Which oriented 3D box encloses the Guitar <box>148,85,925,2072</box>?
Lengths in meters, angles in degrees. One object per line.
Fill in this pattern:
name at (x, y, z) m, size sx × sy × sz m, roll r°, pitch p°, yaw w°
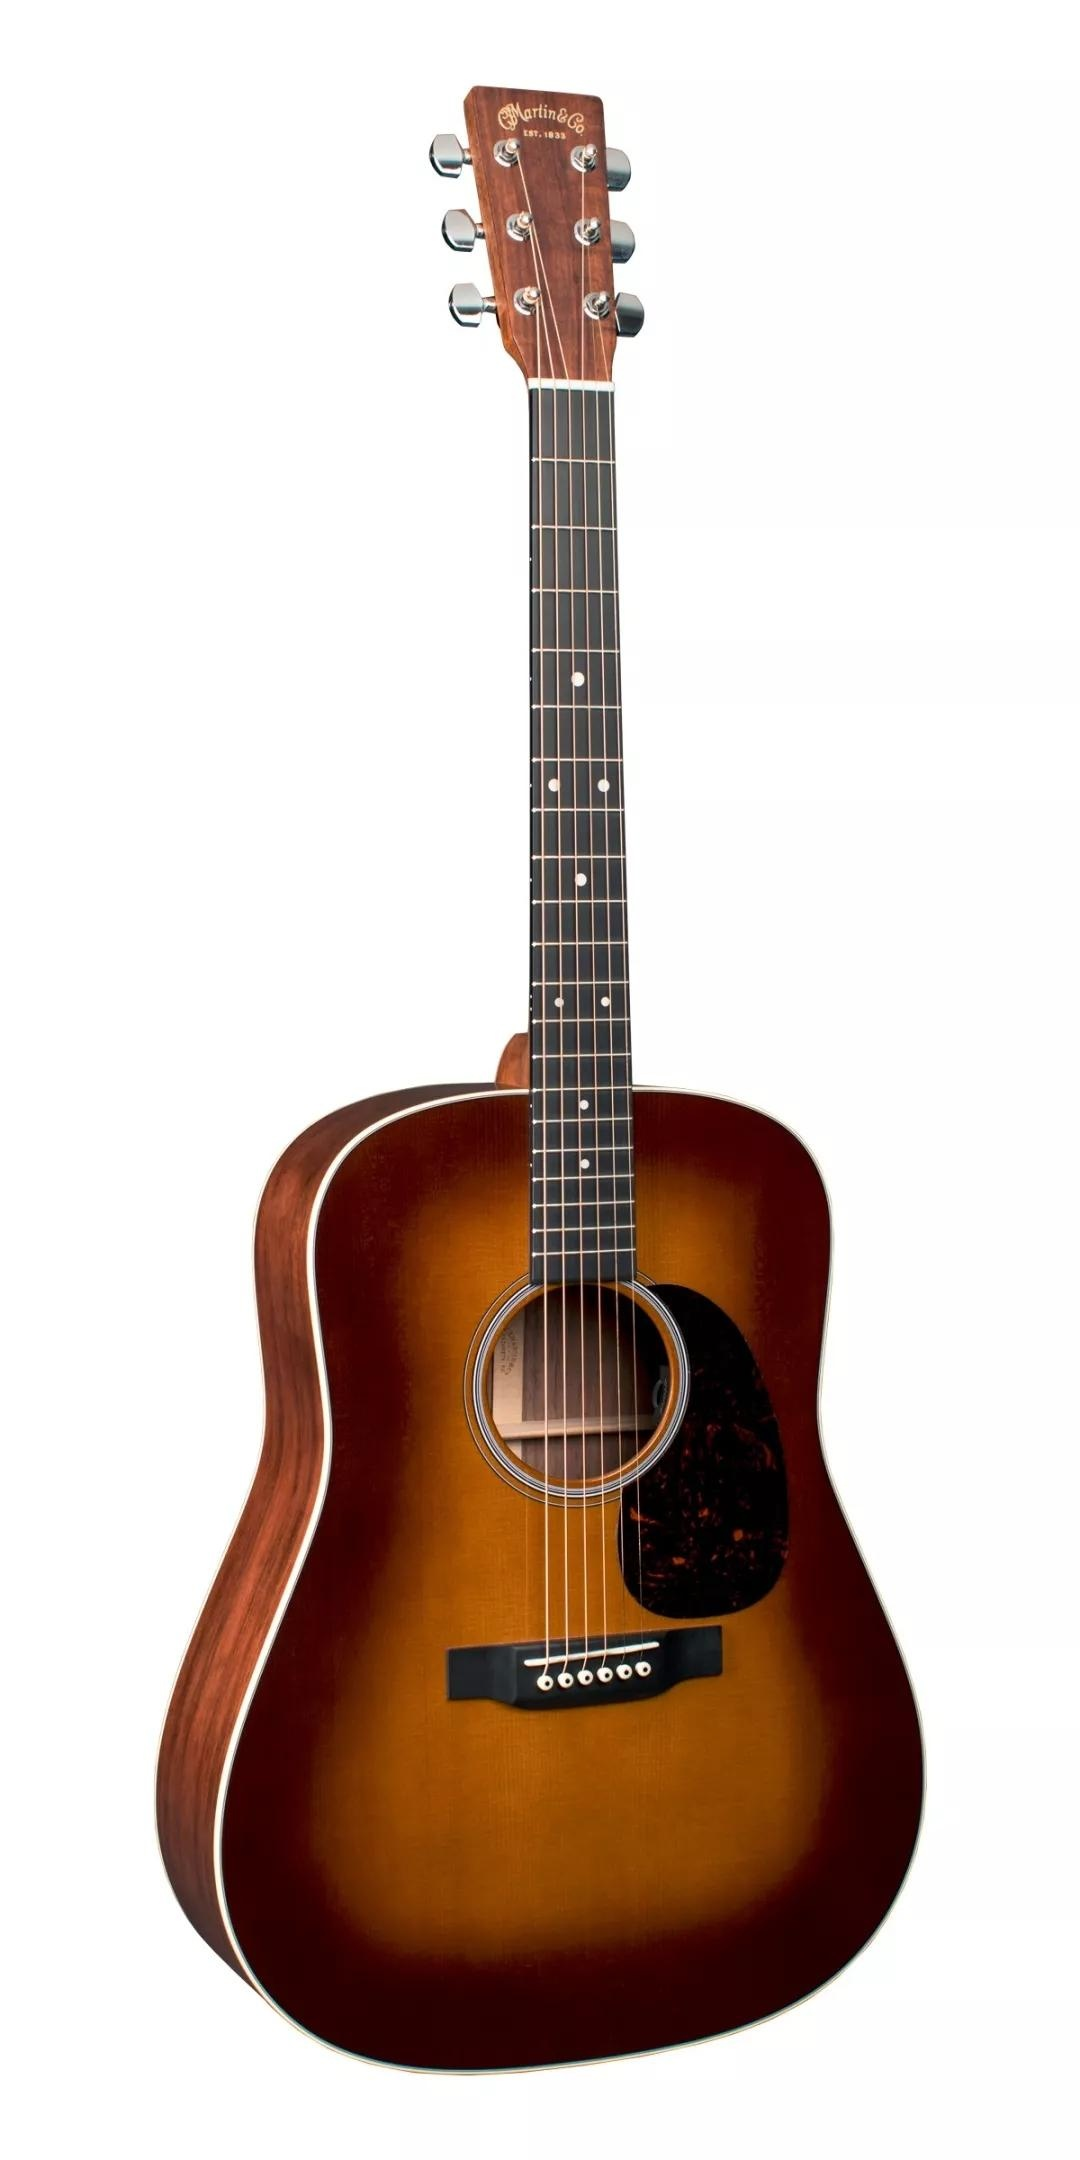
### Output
Guitar at (0.029, -0.087, 2.115) m, size 0.835 × 0.295 × 2.796 m, roll -3°, pitch -70°, yaw -5°
